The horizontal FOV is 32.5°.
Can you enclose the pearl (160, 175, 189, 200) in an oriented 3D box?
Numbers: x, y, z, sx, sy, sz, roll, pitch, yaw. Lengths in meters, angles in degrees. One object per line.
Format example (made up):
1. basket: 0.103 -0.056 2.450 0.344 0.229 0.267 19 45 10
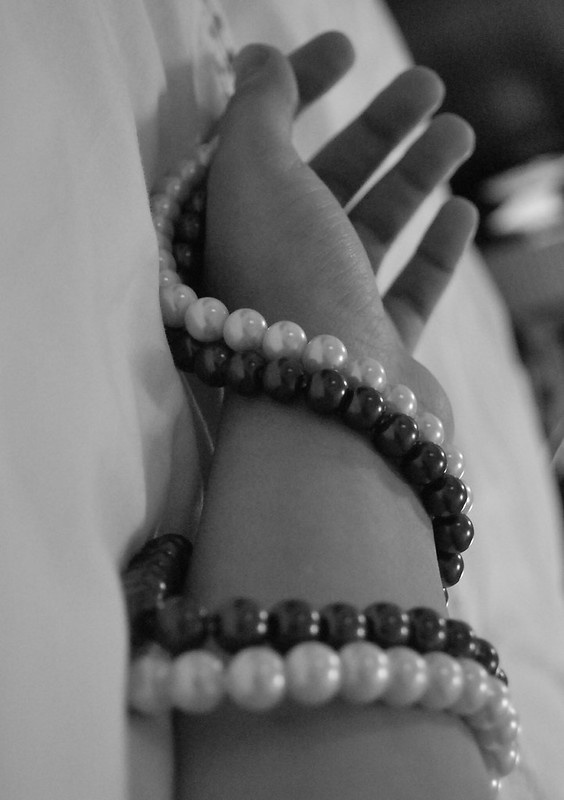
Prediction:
1. pearl: -0.077 -0.150 0.691 0.019 0.010 0.018 25 65 -33
